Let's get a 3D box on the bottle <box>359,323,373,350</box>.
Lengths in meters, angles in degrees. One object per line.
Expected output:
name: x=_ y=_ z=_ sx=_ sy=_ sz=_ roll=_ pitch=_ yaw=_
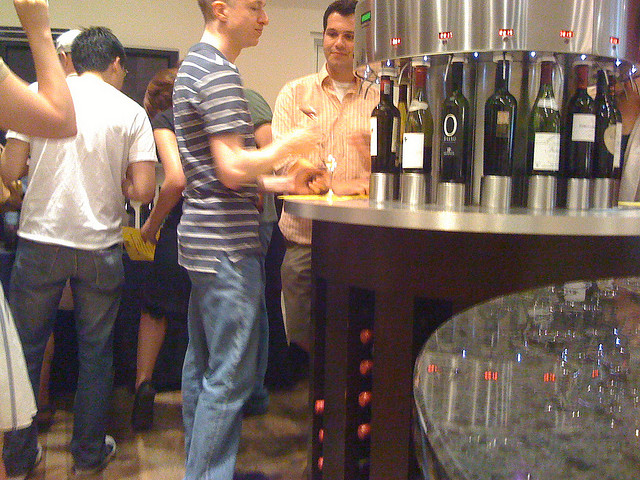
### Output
bottle: x=0.151 y=0.309 z=1.733 sx=0.069 sy=0.051 sz=0.058 roll=-42 pitch=-13 yaw=-1

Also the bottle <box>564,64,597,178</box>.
bottle: x=0.891 y=-0.391 z=1.795 sx=0.139 sy=0.367 sz=0.079 roll=-3 pitch=10 yaw=-27

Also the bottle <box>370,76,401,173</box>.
bottle: x=0.245 y=-0.422 z=1.970 sx=0.123 sy=0.349 sz=0.078 roll=0 pitch=9 yaw=-8

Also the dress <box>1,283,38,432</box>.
dress: x=-0.837 y=0.331 z=1.473 sx=0.082 sy=0.393 sz=0.168 roll=-3 pitch=10 yaw=-28

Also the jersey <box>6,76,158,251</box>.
jersey: x=-1.071 y=-0.353 z=2.481 sx=0.603 sy=0.783 sz=0.167 roll=-4 pitch=10 yaw=-32

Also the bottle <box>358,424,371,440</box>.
bottle: x=0.140 y=0.615 z=1.712 sx=0.036 sy=0.046 sz=0.035 roll=1 pitch=9 yaw=0

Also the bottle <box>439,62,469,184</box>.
bottle: x=0.472 y=-0.397 z=1.831 sx=0.113 sy=0.401 sz=0.101 roll=1 pitch=9 yaw=-3

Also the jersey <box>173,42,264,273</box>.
jersey: x=-0.363 y=-0.284 z=1.939 sx=0.311 sy=0.824 sz=0.261 roll=-1 pitch=9 yaw=-16

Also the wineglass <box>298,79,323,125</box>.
wineglass: x=-0.043 y=-0.686 z=2.751 sx=0.149 sy=0.315 sz=0.075 roll=1 pitch=2 yaw=-9

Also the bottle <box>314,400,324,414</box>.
bottle: x=-0.004 y=0.577 z=1.857 sx=0.036 sy=0.053 sz=0.022 roll=6 pitch=2 yaw=40

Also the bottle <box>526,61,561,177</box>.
bottle: x=0.760 y=-0.401 z=1.798 sx=0.114 sy=0.374 sz=0.221 roll=5 pitch=10 yaw=23

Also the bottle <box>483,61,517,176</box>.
bottle: x=0.602 y=-0.401 z=1.782 sx=0.094 sy=0.372 sz=0.073 roll=3 pitch=9 yaw=10

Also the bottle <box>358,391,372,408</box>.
bottle: x=0.143 y=0.511 z=1.722 sx=0.041 sy=0.049 sz=0.027 roll=3 pitch=9 yaw=12

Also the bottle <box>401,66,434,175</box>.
bottle: x=0.343 y=-0.413 z=1.864 sx=0.104 sy=0.365 sz=0.179 roll=3 pitch=9 yaw=12
